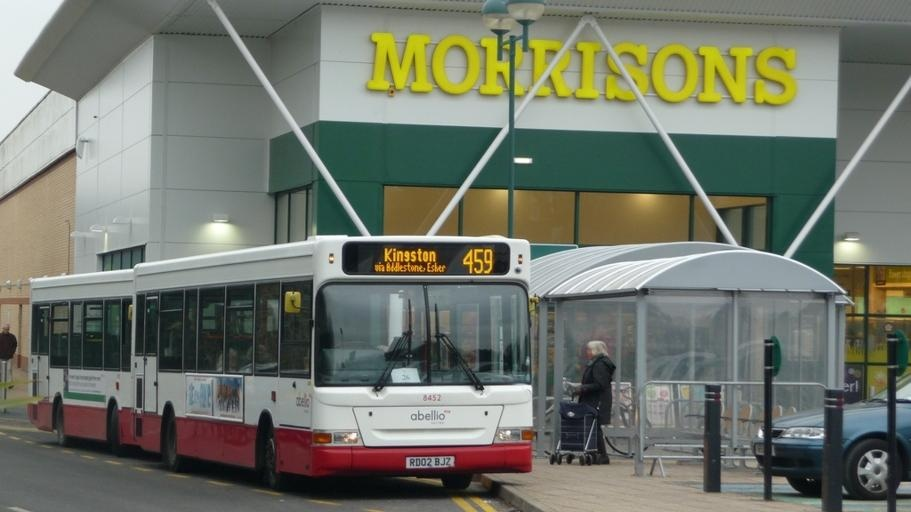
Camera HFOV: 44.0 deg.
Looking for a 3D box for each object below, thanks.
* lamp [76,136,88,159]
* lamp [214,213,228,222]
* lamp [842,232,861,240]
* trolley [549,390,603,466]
[{"bbox_3d":[-16.093,-4.684,48.630,0.368,0.872,1.427,3,-8,-25],"label":"lamp"},{"bbox_3d":[-8.332,-1.321,40.108,0.556,0.275,0.195,1,-7,-11],"label":"lamp"},{"bbox_3d":[14.513,-0.695,41.457,0.634,0.298,0.347,-2,-7,13],"label":"lamp"},{"bbox_3d":[2.944,4.283,27.159,1.176,1.461,1.429,0,-7,6],"label":"trolley"}]
